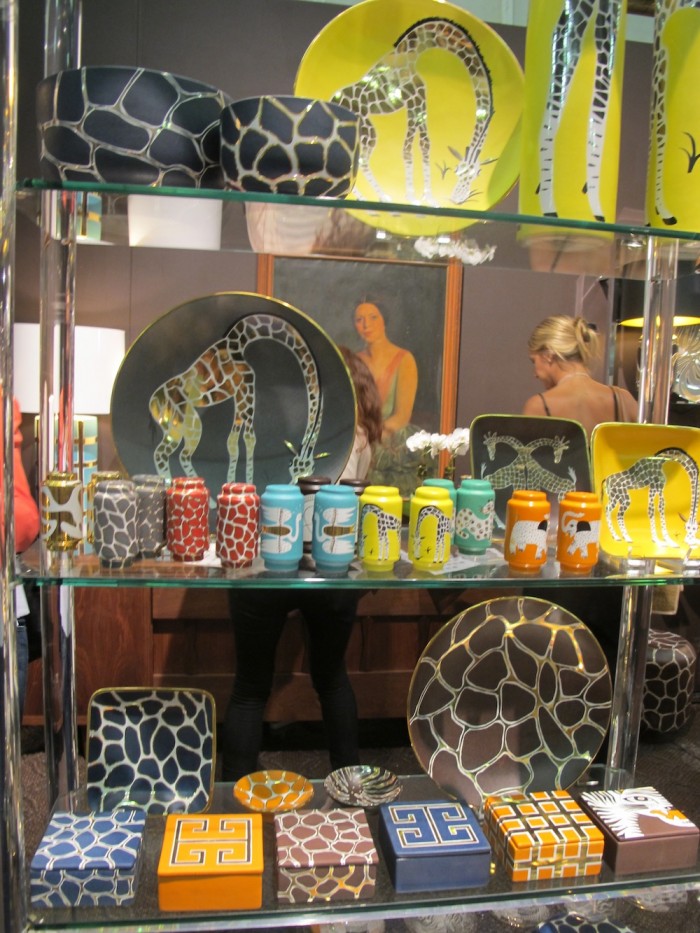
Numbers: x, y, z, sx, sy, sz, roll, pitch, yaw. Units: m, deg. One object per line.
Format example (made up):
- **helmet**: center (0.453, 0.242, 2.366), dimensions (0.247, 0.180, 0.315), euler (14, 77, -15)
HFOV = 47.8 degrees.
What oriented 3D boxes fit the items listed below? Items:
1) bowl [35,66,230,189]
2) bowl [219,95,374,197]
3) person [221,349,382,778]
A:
- **bowl**: center (-0.240, -0.330, 0.857), dimensions (0.138, 0.082, 0.184), euler (4, 3, 23)
- **bowl**: center (-0.068, -0.348, 0.860), dimensions (0.132, 0.080, 0.116), euler (-5, 19, -26)
- **person**: center (-0.125, 0.436, 1.975), dimensions (0.323, 0.319, 1.025), euler (-3, 31, -2)
